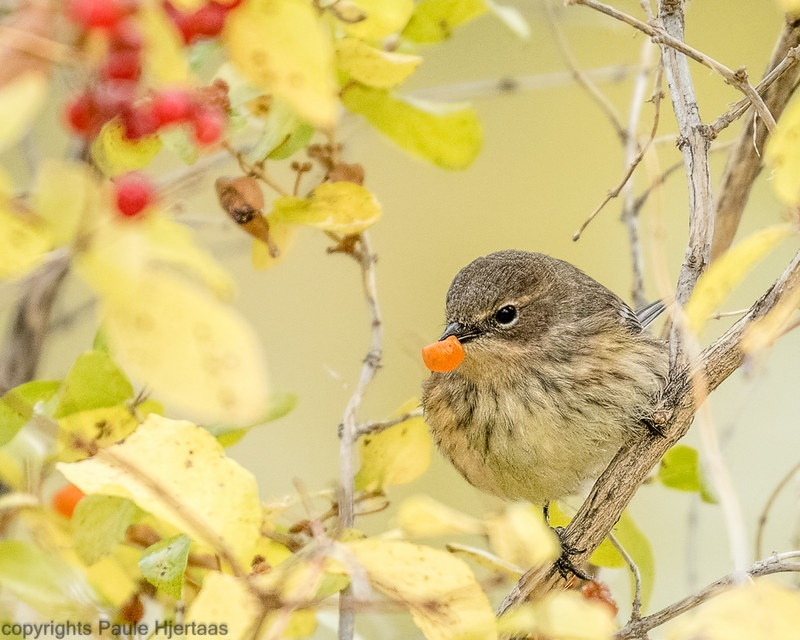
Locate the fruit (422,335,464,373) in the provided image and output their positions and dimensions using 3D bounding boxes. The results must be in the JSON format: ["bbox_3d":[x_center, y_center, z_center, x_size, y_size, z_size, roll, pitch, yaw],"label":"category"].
[{"bbox_3d":[0.118,0.098,2.632,0.103,0.098,0.098,0,-45,-18],"label":"fruit"}]
